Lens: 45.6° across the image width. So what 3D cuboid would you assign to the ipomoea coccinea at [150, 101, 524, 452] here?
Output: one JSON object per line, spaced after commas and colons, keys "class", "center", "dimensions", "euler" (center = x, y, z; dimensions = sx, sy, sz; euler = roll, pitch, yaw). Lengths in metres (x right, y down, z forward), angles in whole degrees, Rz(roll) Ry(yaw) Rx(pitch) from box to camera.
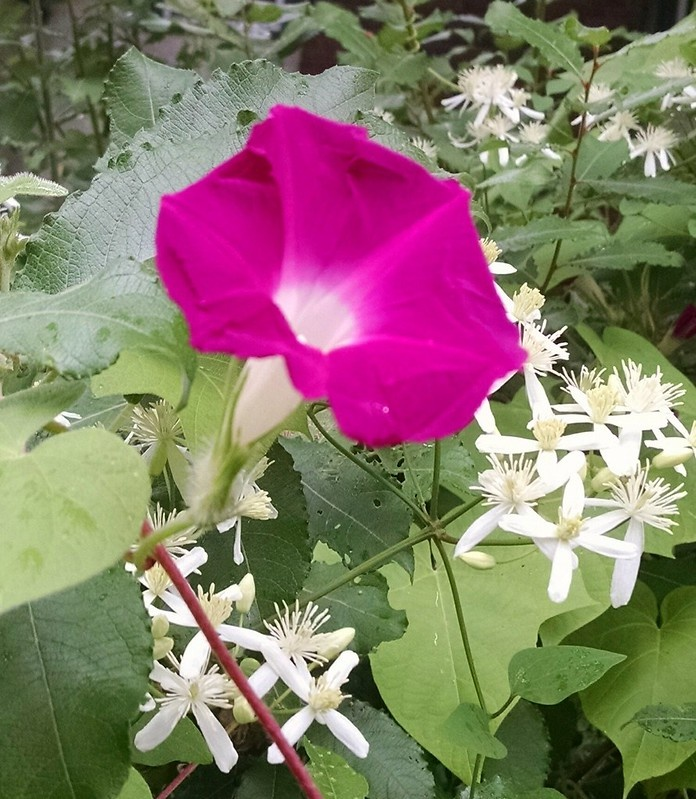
{"class": "ipomoea coccinea", "center": [0.001, -0.040, 0.250], "dimensions": [0.109, 0.075, 0.101], "euler": [19, 39, 28]}
